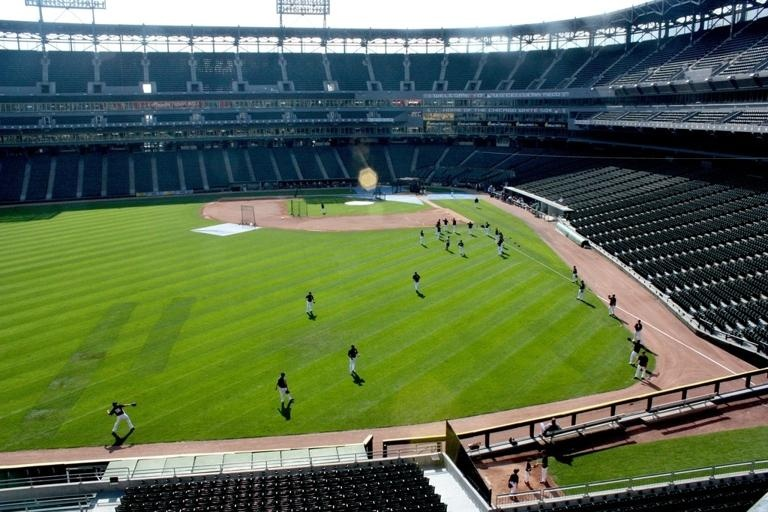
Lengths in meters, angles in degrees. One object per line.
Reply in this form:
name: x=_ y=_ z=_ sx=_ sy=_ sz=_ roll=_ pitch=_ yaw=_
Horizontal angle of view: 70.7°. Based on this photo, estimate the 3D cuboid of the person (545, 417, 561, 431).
person: x=8.280 y=8.114 z=26.382 sx=0.780 sy=0.640 sz=0.226 roll=12 pitch=-25 yaw=2
